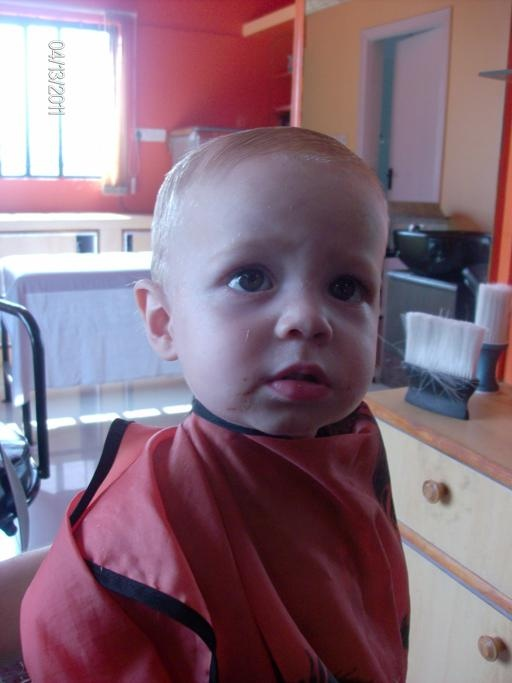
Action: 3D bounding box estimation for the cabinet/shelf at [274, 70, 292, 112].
[{"bbox_3d":[0.208,-2.060,4.780,0.144,0.297,0.238,2,12,1],"label":"cabinet/shelf"}]

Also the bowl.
[{"bbox_3d":[0.348,-0.144,1.064,0.121,0.082,0.099,2,2,-8],"label":"bowl"}]
